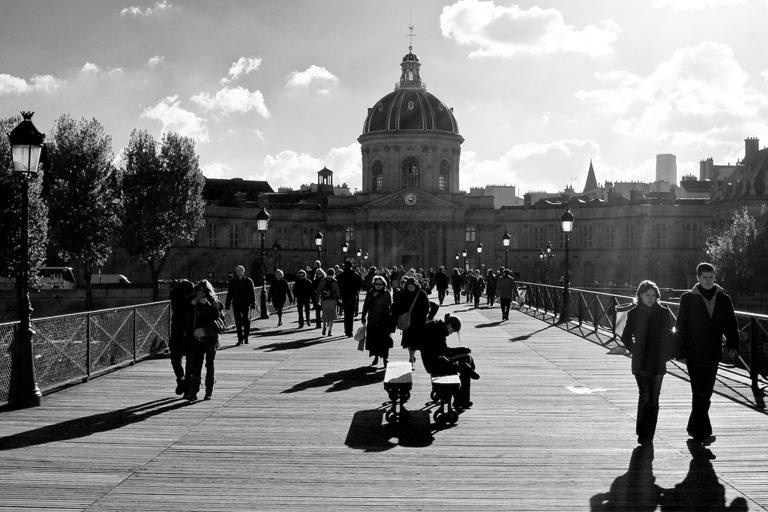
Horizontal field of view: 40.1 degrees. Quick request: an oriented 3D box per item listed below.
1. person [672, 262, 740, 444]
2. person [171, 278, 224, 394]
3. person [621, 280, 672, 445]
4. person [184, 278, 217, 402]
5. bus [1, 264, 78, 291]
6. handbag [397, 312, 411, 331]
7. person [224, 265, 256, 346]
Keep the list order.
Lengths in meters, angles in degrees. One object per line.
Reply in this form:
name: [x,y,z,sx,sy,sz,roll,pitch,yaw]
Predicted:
person: [6.510,1.957,21.284,1.106,3.404,1.485,0,0,10]
person: [-4.196,1.837,23.837,0.881,2.737,0.983,1,0,-9]
person: [5.297,2.103,20.950,0.764,3.198,0.775,-1,2,-35]
person: [-4.096,1.895,23.695,0.812,2.659,0.545,-1,2,-15]
bus: [-21.726,1.432,66.113,5.557,1.832,1.890,0,8,-9]
handbag: [0.483,1.564,25.351,0.155,0.450,0.601,-1,2,-26]
person: [-4.466,1.503,31.831,0.788,2.359,1.041,0,0,6]
